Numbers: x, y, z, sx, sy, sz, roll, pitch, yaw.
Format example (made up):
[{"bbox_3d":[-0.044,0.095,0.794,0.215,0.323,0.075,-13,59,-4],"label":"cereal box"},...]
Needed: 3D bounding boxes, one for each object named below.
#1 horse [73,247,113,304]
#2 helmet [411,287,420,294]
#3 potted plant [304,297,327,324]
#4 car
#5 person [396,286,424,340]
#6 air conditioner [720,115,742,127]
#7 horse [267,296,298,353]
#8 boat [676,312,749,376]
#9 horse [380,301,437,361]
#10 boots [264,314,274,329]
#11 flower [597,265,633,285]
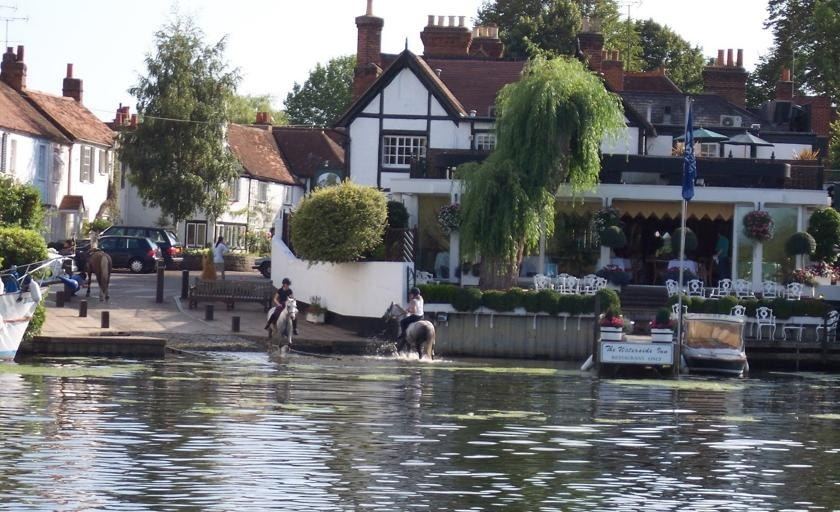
[{"bbox_3d":[-16.624,0.549,102.134,2.188,3.838,1.651,-2,-2,28],"label":"horse"},{"bbox_3d":[-0.319,1.561,95.945,0.274,0.320,0.354,5,-5,-43],"label":"helmet"},{"bbox_3d":[-5.260,2.738,100.579,1.535,1.642,1.125,0,-3,21],"label":"potted plant"},{"bbox_3d":[-16.614,-0.627,114.442,4.819,2.980,3.080,0,-1,34],"label":"car"},{"bbox_3d":[-0.519,2.797,95.295,1.112,2.658,1.026,2,-5,-4],"label":"person"},{"bbox_3d":[18.378,-8.071,116.329,1.520,0.751,0.719,3,-5,-12],"label":"air conditioner"},{"bbox_3d":[-6.745,3.155,94.508,1.273,2.535,2.838,2,-5,-4],"label":"horse"},{"bbox_3d":[13.461,4.374,97.008,3.592,3.337,6.623,3,-1,-15],"label":"boat"},{"bbox_3d":[-0.571,3.573,95.515,3.402,2.410,0.875,20,21,42],"label":"horse"},{"bbox_3d":[-7.445,3.082,95.288,0.313,0.793,0.199,10,34,-42],"label":"boots"},{"bbox_3d":[10.056,0.880,102.059,1.173,0.492,1.171,6,7,9],"label":"flower"}]
